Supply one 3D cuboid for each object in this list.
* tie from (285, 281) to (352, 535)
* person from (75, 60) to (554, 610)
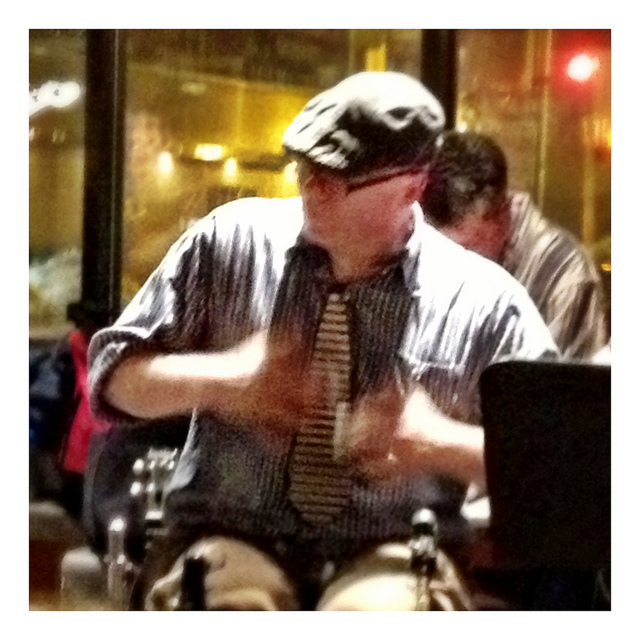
[{"bbox_3d":[0.010,0.194,3.259,0.191,0.688,0.027,0,5,-36],"label":"tie"},{"bbox_3d":[-0.002,0.047,3.234,1.073,1.342,0.302,5,10,7],"label":"person"}]
